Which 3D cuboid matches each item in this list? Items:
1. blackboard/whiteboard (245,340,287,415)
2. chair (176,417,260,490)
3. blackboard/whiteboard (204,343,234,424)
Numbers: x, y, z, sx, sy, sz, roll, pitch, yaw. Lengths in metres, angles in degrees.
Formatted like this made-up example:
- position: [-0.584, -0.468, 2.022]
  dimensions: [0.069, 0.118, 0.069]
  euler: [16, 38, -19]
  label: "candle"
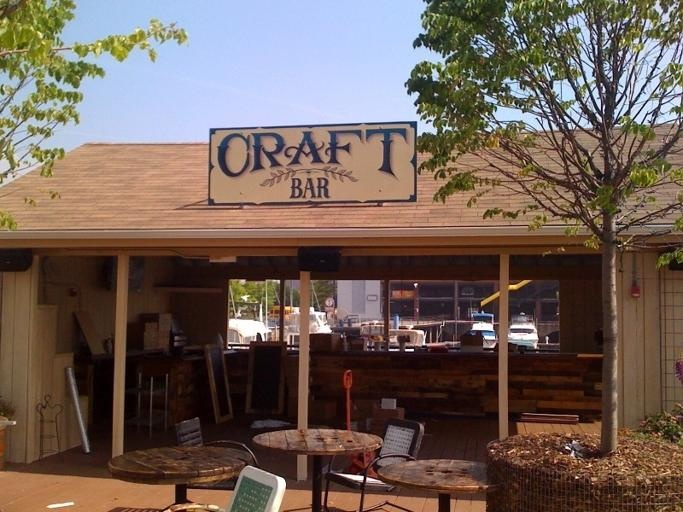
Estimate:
- position: [-1.600, 2.581, 15.366]
  dimensions: [0.852, 1.506, 0.447]
  euler: [-1, -5, -9]
  label: "blackboard/whiteboard"
- position: [-1.611, 2.586, 9.426]
  dimensions: [0.791, 1.051, 0.799]
  euler: [-15, -19, 29]
  label: "chair"
- position: [-2.496, 2.562, 14.694]
  dimensions: [0.518, 1.560, 0.947]
  euler: [-2, -5, 6]
  label: "blackboard/whiteboard"
